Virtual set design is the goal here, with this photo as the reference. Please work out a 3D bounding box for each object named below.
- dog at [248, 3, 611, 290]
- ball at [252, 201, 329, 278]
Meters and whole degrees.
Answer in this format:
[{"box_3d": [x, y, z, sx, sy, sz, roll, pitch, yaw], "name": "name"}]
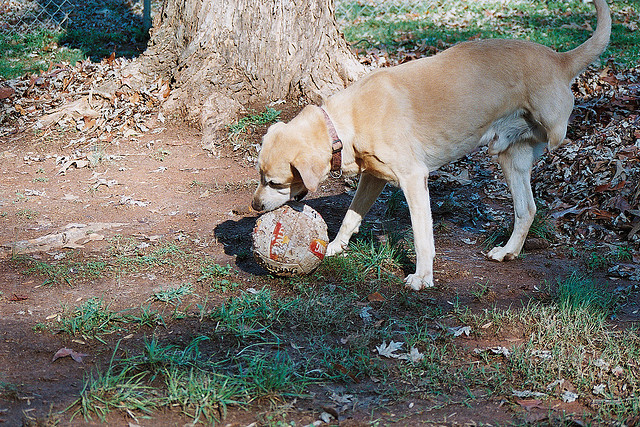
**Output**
[{"box_3d": [1.304, -0.535, 5.772, 3.711, 2.260, 1.258, -12, 36, -7], "name": "dog"}, {"box_3d": [-0.302, 0.308, 5.517, 0.789, 0.698, 0.463, -12, 36, -6], "name": "ball"}]
